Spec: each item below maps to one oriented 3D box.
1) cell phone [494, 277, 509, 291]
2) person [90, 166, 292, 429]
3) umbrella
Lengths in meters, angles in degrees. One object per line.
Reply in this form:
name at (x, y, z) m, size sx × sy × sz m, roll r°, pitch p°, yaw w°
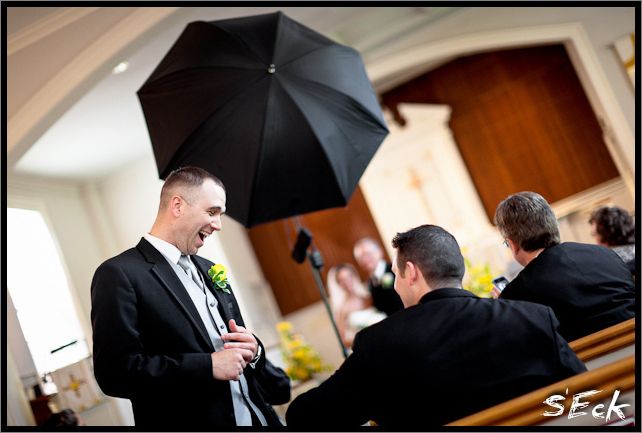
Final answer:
cell phone at (1.068, 0.384, 2.667) m, size 0.089 × 0.081 × 0.021 m, roll -33°, pitch -5°, yaw -35°
person at (-0.747, 0.453, 2.263) m, size 0.788 × 1.401 × 0.346 m, roll -12°, pitch -9°, yaw -24°
umbrella at (-0.366, -0.489, 2.753) m, size 1.245 × 1.247 × 0.404 m, roll -40°, pitch -6°, yaw -12°
